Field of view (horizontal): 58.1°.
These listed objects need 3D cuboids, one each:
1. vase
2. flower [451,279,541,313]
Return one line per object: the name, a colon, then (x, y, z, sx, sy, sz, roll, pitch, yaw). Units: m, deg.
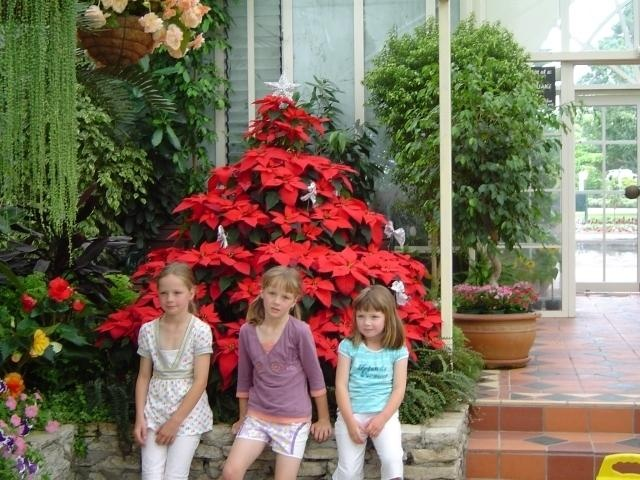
vase: (1.282, 0.707, 4.113, 0.448, 0.288, 0.440, 3, -8, -22)
flower: (1.321, 0.439, 4.320, 0.623, 0.188, 0.413, -1, 2, 8)
